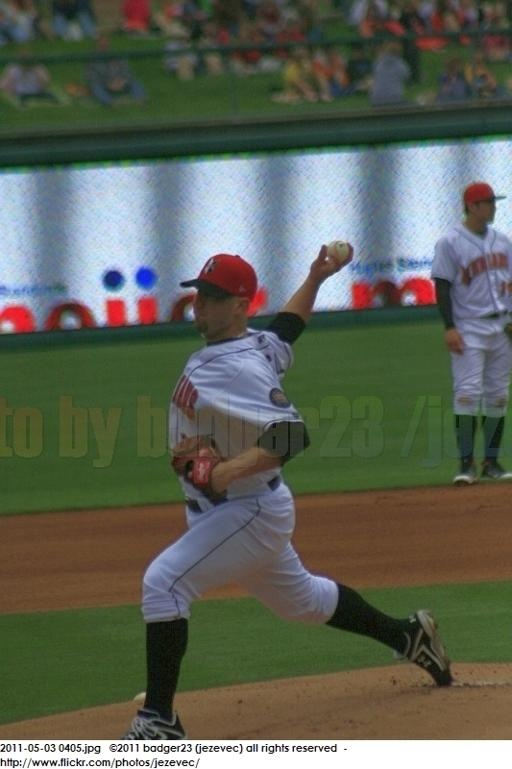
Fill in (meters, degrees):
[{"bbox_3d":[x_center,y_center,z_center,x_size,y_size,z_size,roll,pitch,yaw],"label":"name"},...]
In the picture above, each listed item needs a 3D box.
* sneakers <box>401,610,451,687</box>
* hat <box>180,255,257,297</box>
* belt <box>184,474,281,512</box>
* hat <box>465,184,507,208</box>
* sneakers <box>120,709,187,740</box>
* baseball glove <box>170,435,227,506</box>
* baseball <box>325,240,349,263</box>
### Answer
[{"bbox_3d":[0.651,1.010,5.192,0.158,0.343,0.118,-22,20,9],"label":"sneakers"},{"bbox_3d":[-0.136,-0.385,4.858,0.236,0.121,0.148,13,10,-17],"label":"hat"},{"bbox_3d":[-0.104,0.391,4.766,0.240,0.126,0.172,-15,2,3],"label":"belt"},{"bbox_3d":[1.212,-0.996,7.204,0.213,0.105,0.138,-9,13,6],"label":"hat"},{"bbox_3d":[-0.347,1.170,4.589,0.204,0.119,0.080,-2,6,-4],"label":"sneakers"},{"bbox_3d":[-0.206,0.307,4.687,0.235,0.103,0.173,23,-4,-3],"label":"baseball glove"},{"bbox_3d":[0.324,-0.503,5.256,0.088,0.078,0.081,-12,39,-30],"label":"baseball"}]
